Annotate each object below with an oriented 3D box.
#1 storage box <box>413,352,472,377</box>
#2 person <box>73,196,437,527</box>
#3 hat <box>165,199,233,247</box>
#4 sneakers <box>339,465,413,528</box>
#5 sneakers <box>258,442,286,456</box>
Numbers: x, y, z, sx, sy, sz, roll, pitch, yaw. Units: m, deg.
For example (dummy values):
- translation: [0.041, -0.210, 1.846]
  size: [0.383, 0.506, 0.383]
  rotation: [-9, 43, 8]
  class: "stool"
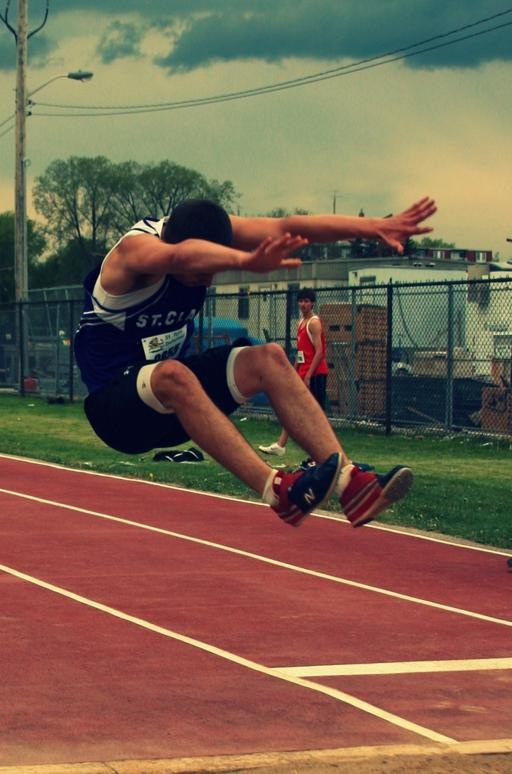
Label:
- translation: [3.028, -0.341, 17.054]
  size: [0.620, 0.386, 0.834]
  rotation: [1, -1, 9]
  class: "storage box"
- translation: [-0.149, -0.096, 4.440]
  size: [1.543, 1.116, 1.306]
  rotation: [0, 2, 42]
  class: "person"
- translation: [-0.213, -0.646, 3.996]
  size: [0.192, 0.232, 0.238]
  rotation: [4, 36, 13]
  class: "hat"
- translation: [0.468, 0.437, 4.096]
  size: [0.285, 0.271, 0.248]
  rotation: [1, 4, 13]
  class: "sneakers"
- translation: [0.134, 0.636, 10.748]
  size: [0.332, 0.151, 0.115]
  rotation: [5, -12, 10]
  class: "sneakers"
